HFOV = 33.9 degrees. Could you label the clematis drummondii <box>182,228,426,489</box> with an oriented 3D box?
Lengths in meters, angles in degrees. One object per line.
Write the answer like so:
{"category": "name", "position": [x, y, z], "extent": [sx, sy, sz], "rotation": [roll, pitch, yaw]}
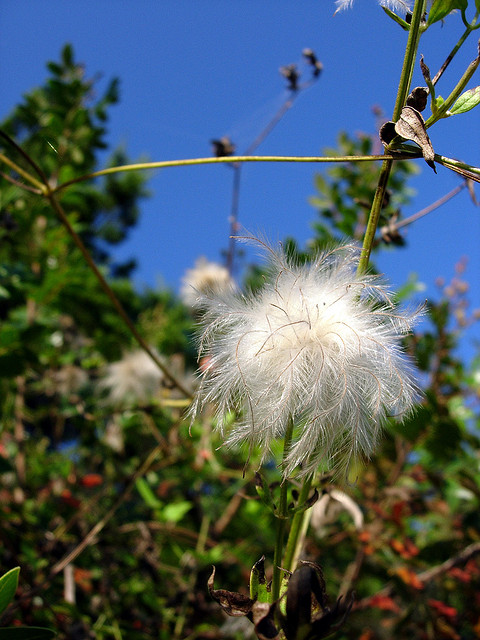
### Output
{"category": "clematis drummondii", "position": [0.220, 0.185, 2.301], "extent": [0.719, 0.633, 0.381], "rotation": [14, -22, 12]}
